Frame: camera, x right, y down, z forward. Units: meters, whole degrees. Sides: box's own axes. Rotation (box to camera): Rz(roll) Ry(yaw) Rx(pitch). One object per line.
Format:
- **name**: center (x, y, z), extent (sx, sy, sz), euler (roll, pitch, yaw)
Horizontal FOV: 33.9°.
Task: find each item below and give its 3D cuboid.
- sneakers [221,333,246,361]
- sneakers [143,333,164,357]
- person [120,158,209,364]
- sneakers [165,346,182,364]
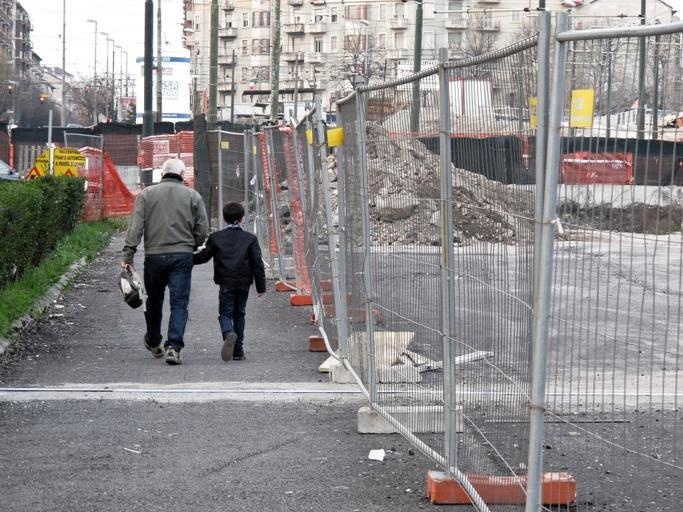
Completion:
- **sneakers**: center (-1.016, 0.889, 10.532), extent (0.129, 0.359, 0.156), euler (1, 39, -14)
- **sneakers**: center (-1.805, 0.876, 10.855), extent (0.108, 0.137, 0.307), euler (-1, 27, -9)
- **person**: center (-1.705, 0.032, 10.775), extent (0.768, 1.915, 1.010), euler (2, 8, 8)
- **sneakers**: center (-1.559, 0.932, 10.441), extent (0.149, 0.170, 0.201), euler (0, 8, -7)
